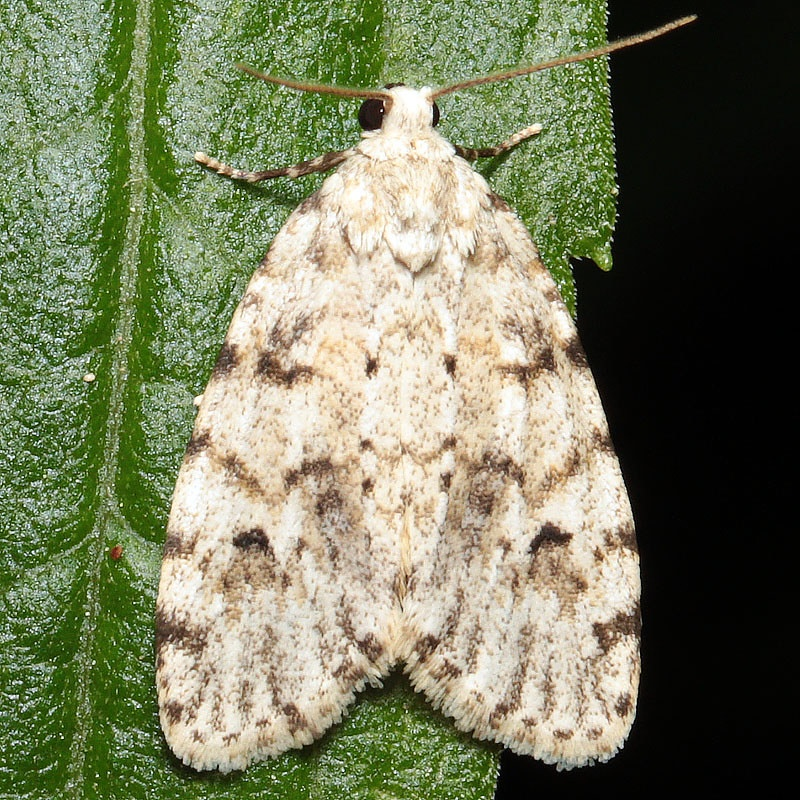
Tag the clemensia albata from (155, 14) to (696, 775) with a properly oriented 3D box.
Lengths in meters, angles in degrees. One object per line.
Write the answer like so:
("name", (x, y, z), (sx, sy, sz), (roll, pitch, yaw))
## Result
("clemensia albata", (-0.037, 0.053, 2.872), (0.885, 0.418, 1.819), (-1, 90, 0))
